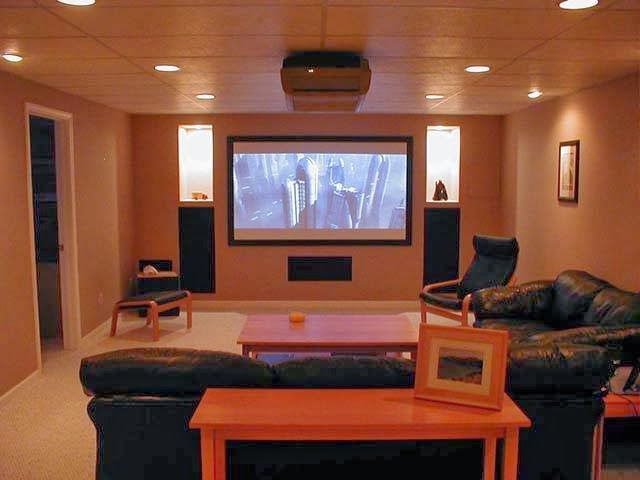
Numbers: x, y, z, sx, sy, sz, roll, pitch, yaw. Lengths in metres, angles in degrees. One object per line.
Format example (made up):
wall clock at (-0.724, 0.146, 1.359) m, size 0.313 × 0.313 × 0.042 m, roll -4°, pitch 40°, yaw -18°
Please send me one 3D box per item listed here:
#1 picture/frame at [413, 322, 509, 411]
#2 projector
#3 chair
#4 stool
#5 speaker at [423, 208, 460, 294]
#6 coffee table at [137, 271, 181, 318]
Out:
picture/frame at (0.701, 0.620, 2.848) m, size 0.419 × 0.392 × 0.045 m, roll 5°, pitch 7°, yaw 9°
projector at (0.044, -1.289, 4.388) m, size 0.670 × 0.316 × 0.251 m, roll -1°, pitch 6°, yaw 0°
chair at (1.624, 0.530, 6.211) m, size 0.902 × 1.071 × 0.821 m, roll -2°, pitch 6°, yaw -21°
stool at (-1.876, 0.801, 6.547) m, size 0.837 × 0.446 × 1.081 m, roll 1°, pitch 7°, yaw 13°
speaker at (1.572, 0.232, 7.586) m, size 0.429 × 0.122 × 1.124 m, roll -5°, pitch 42°, yaw 14°
coffee table at (-1.966, 0.653, 7.041) m, size 0.500 × 0.516 × 0.519 m, roll -1°, pitch 0°, yaw -14°
